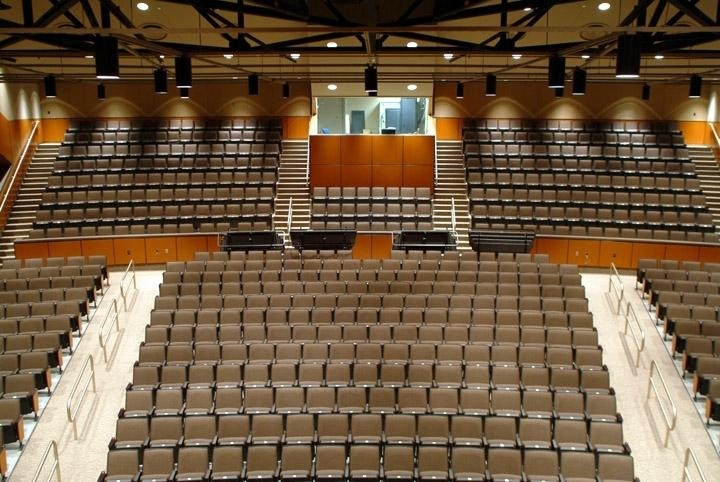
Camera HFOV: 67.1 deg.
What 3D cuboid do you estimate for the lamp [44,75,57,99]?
[{"bbox_3d":[-9.541,-4.809,16.763,0.261,0.730,0.841,-1,6,-33],"label":"lamp"}]

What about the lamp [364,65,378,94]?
[{"bbox_3d":[0.291,-4.037,13.385,0.234,0.648,0.326,3,5,12],"label":"lamp"}]

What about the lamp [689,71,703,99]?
[{"bbox_3d":[10.009,-4.647,16.153,0.266,0.723,0.675,4,5,27],"label":"lamp"}]

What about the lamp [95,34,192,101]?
[{"bbox_3d":[-4.474,-3.743,11.759,1.470,1.226,4.050,1,5,-14],"label":"lamp"}]

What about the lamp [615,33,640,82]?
[{"bbox_3d":[5.227,-3.595,10.550,0.391,0.819,0.384,4,5,22],"label":"lamp"}]
